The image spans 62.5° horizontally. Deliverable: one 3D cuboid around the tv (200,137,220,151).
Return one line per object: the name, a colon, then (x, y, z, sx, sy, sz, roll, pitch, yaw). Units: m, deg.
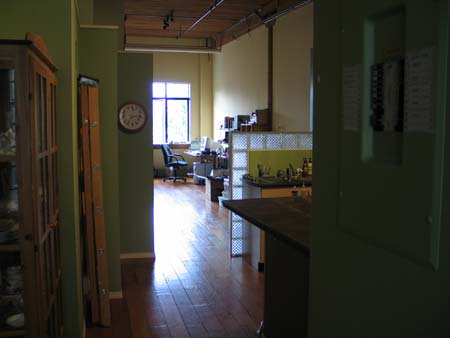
tv: (-0.499, -0.819, 12.174, 0.480, 0.414, 0.489, -2, 1, -13)

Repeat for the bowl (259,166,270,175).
bowl: (0.569, 0.015, 5.447, 0.120, 0.120, 0.120, 0, 4, 0)

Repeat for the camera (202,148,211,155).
camera: (-0.618, -0.561, 11.536, 0.249, 0.214, 0.174, -3, 8, -3)

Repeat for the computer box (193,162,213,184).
computer box: (-0.712, 0.046, 11.899, 0.604, 0.749, 0.412, -2, 26, -9)

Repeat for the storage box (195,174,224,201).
storage box: (-0.503, 0.456, 9.827, 0.413, 0.558, 1.444, 1, 2, -23)

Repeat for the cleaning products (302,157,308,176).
cleaning products: (1.213, -0.038, 5.635, 0.084, 0.254, 0.213, 1, 6, 14)

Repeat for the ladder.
ladder: (-1.227, 0.323, 3.416, 0.220, 2.291, 0.241, -3, 6, -24)

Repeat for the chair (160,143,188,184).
chair: (-1.641, -0.213, 11.869, 0.753, 1.261, 0.780, -2, 5, -6)

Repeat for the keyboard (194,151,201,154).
keyboard: (-0.887, -0.517, 11.571, 0.150, 0.059, 0.163, 1, 3, 5)

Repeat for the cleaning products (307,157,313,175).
cleaning products: (1.284, -0.047, 5.652, 0.062, 0.237, 0.236, 0, 6, 7)
